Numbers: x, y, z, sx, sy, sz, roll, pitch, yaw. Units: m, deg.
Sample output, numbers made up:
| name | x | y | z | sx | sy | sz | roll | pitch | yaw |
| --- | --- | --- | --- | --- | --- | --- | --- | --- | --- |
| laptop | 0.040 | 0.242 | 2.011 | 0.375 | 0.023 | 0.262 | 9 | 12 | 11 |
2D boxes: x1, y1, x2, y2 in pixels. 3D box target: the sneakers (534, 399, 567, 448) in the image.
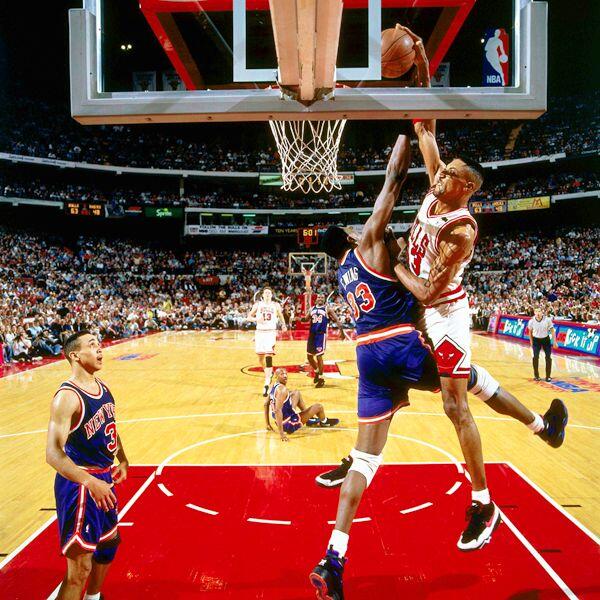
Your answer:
| name | x | y | z | sx | sy | sz | roll | pitch | yaw |
| --- | --- | --- | --- | --- | --- | --- | --- | --- | --- |
| sneakers | 1.752 | 0.863 | 3.816 | 0.165 | 0.453 | 0.178 | 13 | -10 | -25 |

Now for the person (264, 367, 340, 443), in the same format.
| name | x | y | z | sx | sy | sz | roll | pitch | yaw |
| --- | --- | --- | --- | --- | --- | --- | --- | --- | --- |
| person | 0.048 | 1.249 | 7.035 | 1.135 | 1.143 | 0.512 | -8 | 12 | -28 |
